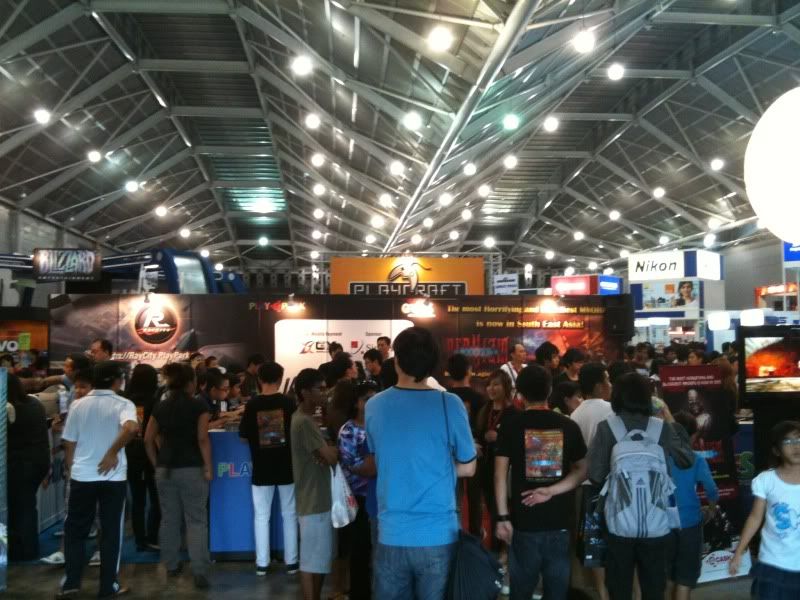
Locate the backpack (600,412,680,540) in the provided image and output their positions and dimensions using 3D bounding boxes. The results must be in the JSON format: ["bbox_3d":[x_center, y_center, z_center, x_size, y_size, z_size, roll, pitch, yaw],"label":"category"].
[{"bbox_3d":[1.668,1.276,4.569,0.611,0.744,0.418,5,-2,0],"label":"backpack"}]

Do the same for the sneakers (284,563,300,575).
[{"bbox_3d":[-1.013,2.516,6.026,0.059,0.065,0.164,2,-2,4],"label":"sneakers"}]

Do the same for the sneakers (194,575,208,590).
[{"bbox_3d":[-1.776,2.535,5.773,0.139,0.122,0.086,4,-15,-1],"label":"sneakers"}]

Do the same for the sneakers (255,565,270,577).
[{"bbox_3d":[-1.289,2.544,6.048,0.120,0.100,0.076,1,-2,0],"label":"sneakers"}]
